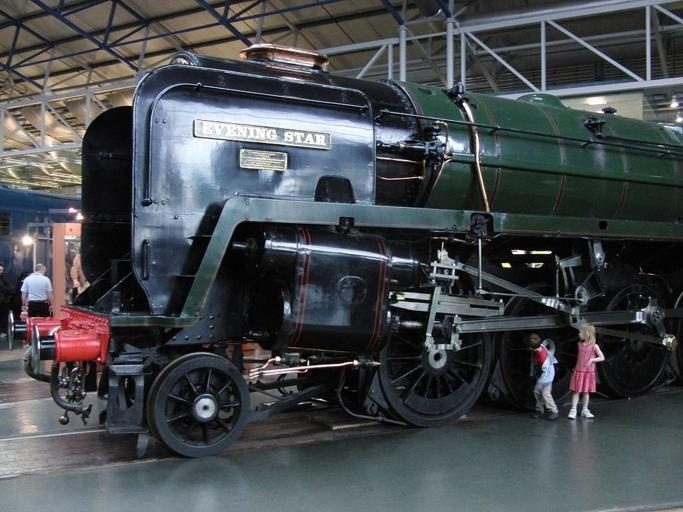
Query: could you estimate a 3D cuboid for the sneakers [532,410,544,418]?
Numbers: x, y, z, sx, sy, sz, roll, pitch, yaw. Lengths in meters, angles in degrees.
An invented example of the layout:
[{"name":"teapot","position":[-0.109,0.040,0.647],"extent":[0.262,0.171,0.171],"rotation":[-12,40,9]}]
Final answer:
[{"name":"sneakers","position":[2.319,1.865,6.811],"extent":[0.181,0.094,0.054],"rotation":[3,-5,-23]}]
